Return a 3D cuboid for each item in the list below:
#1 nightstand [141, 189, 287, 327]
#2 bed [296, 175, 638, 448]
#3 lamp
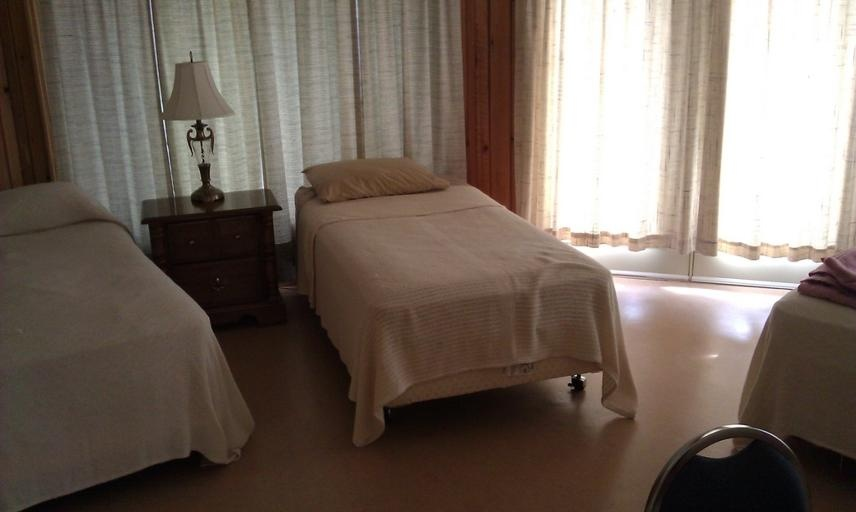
[{"bbox_3d":[-1.336,-0.060,4.656,1.232,1.071,0.862,-7,23,-14],"label":"nightstand"},{"bbox_3d":[-0.019,0.109,4.454,1.657,0.798,2.698,-9,20,-14],"label":"bed"},{"bbox_3d":[-1.625,-0.920,4.438,0.452,1.049,0.616,-9,19,-20],"label":"lamp"}]
